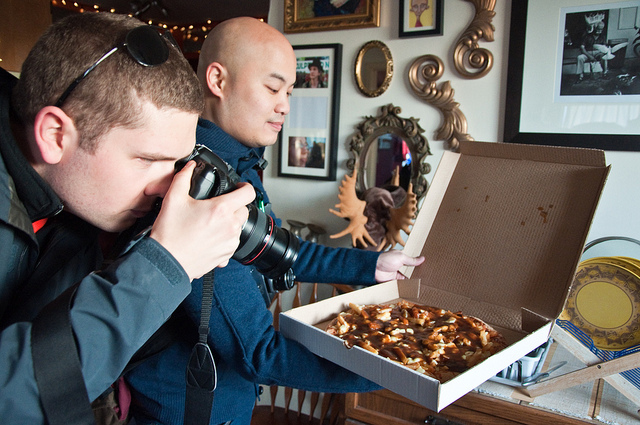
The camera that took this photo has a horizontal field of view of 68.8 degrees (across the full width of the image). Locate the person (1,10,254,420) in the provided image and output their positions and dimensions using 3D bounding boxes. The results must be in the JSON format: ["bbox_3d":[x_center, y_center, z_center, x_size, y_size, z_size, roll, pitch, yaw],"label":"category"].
[{"bbox_3d":[-0.533,-0.026,1.182,0.573,0.927,0.536,-8,15,-43],"label":"person"}]

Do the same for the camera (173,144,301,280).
[{"bbox_3d":[-0.209,0.029,1.264,0.225,0.168,0.357,16,-22,49],"label":"camera"}]

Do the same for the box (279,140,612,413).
[{"bbox_3d":[0.389,0.113,1.407,0.813,0.510,0.600,-14,18,-42],"label":"box"}]

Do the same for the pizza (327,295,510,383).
[{"bbox_3d":[0.302,0.382,1.521,0.582,0.052,0.572,2,-32,11],"label":"pizza"}]
